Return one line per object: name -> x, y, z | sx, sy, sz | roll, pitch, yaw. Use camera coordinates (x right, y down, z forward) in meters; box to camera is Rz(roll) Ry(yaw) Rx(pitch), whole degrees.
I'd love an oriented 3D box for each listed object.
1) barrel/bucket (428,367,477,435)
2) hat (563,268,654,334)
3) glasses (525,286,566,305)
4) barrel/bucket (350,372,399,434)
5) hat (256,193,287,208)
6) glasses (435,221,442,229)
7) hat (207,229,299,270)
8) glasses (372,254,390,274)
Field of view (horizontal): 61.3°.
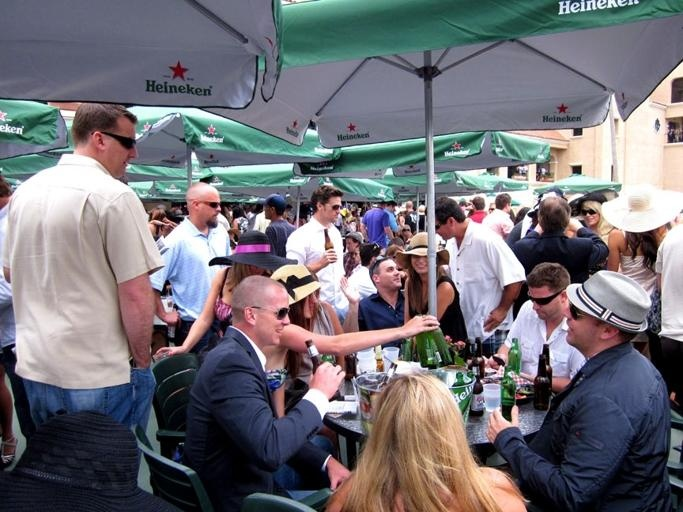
barrel/bucket -> 0.648, 0.815, 3.362 | 0.332, 0.352, 0.379 | -1, -6, -15
hat -> 1.458, 0.236, 3.165 | 0.387, 0.160, 0.331 | 31, 32, 24
glasses -> 1.500, 0.300, 4.190 | 0.142, 0.040, 0.137 | -25, 3, -22
barrel/bucket -> 0.163, 0.828, 3.422 | 0.307, 0.305, 0.385 | -1, -1, -6
hat -> -1.052, -0.816, 8.634 | 0.400, 0.249, 0.295 | 4, 4, 21
glasses -> 0.939, -0.314, 5.597 | 0.066, 0.095, 0.045 | 0, 12, 9
hat -> -0.747, -0.054, 4.835 | 0.718, 0.339, 0.846 | 1, 1, 12
glasses -> 0.339, 0.061, 5.114 | 0.118, 0.160, 0.071 | 13, 18, -41
